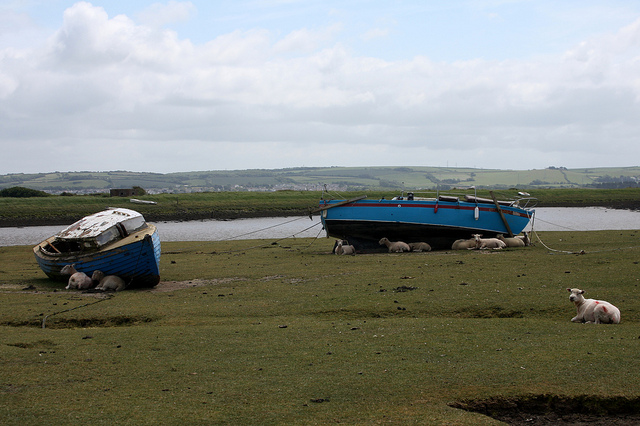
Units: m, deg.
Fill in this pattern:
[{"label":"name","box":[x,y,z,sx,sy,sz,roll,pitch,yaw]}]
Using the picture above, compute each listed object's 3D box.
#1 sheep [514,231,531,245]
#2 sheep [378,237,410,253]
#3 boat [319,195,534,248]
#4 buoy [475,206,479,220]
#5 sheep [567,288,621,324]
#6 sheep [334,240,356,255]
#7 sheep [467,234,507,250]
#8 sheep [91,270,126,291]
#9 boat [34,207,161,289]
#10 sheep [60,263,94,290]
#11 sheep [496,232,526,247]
[{"label":"sheep","box":[12.574,1.705,54.803,0.682,0.562,1.298,1,-24,15]},{"label":"sheep","box":[4.565,1.972,53.715,1.193,0.823,2.274,-7,7,-44]},{"label":"boat","box":[6.824,0.581,55.825,13.505,2.043,3.390,2,-8,1]},{"label":"buoy","box":[9.615,0.018,54.209,0.257,0.817,0.271,-3,7,15]},{"label":"sheep","box":[11.133,3.795,35.535,1.223,0.999,2.551,0,6,-37]},{"label":"sheep","box":[1.459,2.127,53.253,1.161,0.690,1.071,-3,5,-8]},{"label":"sheep","box":[9.833,1.741,52.541,2.097,0.818,1.411,0,5,24]},{"label":"sheep","box":[-10.066,3.212,42.383,1.454,0.981,0.699,-3,6,-9]},{"label":"boat","box":[-11.232,1.720,44.758,8.394,3.699,4.931,-1,5,19]},{"label":"sheep","box":[-11.643,3.122,42.795,2.044,0.906,0.930,14,9,27]},{"label":"sheep","box":[11.298,1.709,53.509,1.939,0.477,0.807,12,28,20]}]
